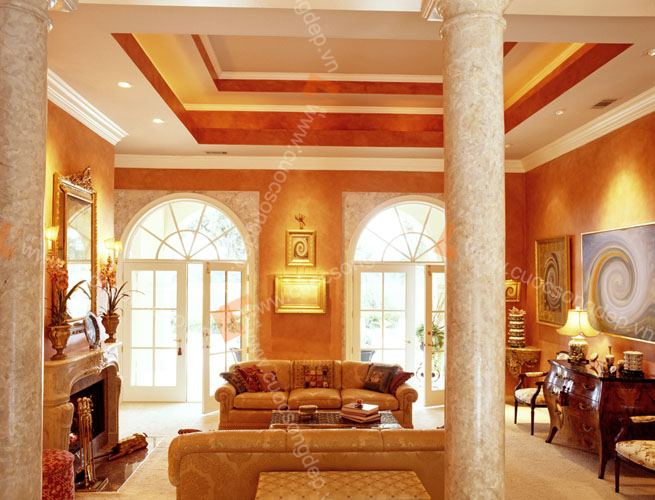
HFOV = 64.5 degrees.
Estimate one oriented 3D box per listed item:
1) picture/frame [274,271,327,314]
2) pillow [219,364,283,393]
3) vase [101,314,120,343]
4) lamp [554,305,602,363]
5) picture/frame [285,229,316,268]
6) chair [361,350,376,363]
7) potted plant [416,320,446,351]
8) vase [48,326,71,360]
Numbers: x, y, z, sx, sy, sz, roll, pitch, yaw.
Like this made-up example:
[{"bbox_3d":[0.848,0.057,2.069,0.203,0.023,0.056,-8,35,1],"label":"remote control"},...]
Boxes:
[{"bbox_3d":[-0.407,0.636,7.552,0.531,0.440,0.058,0,-1,-2],"label":"picture/frame"},{"bbox_3d":[-0.961,1.644,6.638,0.472,0.178,0.421,6,19,-41],"label":"pillow"},{"bbox_3d":[-2.484,0.899,5.986,0.266,0.353,0.306,1,-9,-3],"label":"vase"},{"bbox_3d":[2.883,1.020,6.234,0.527,0.711,0.541,1,-7,-8],"label":"lamp"},{"bbox_3d":[-0.405,-0.014,7.618,0.498,0.611,0.045,0,-2,-2],"label":"picture/frame"},{"bbox_3d":[0.604,1.603,7.971,0.184,0.238,0.181,1,-4,3],"label":"chair"},{"bbox_3d":[1.586,1.299,7.952,0.433,0.339,0.478,2,-5,-17],"label":"potted plant"},{"bbox_3d":[-2.465,0.840,4.771,0.234,0.314,0.269,0,-11,-2],"label":"vase"}]
